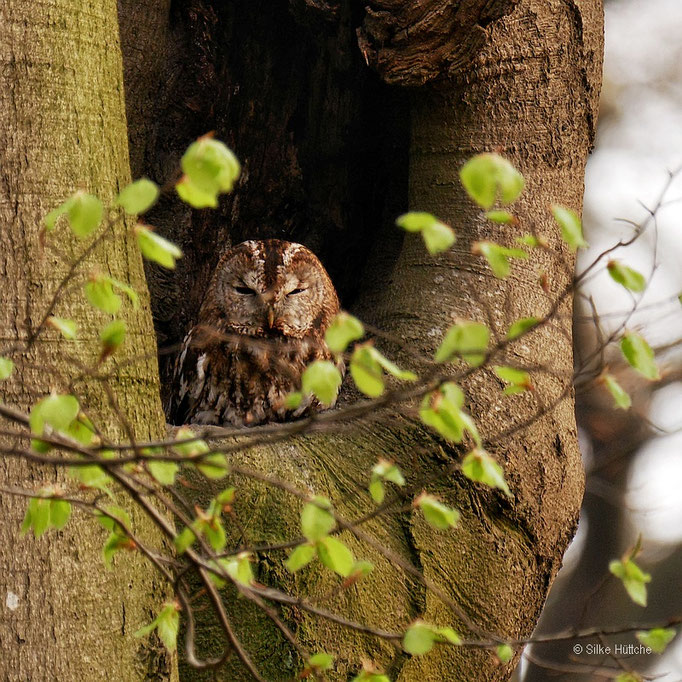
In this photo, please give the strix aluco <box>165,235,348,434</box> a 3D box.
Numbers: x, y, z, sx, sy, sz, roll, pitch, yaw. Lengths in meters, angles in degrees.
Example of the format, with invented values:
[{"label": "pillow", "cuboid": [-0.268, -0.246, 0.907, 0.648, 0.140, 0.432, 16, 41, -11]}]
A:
[{"label": "strix aluco", "cuboid": [-0.285, -0.082, 5.666, 0.472, 0.790, 0.704, 6, -17, -8]}]
